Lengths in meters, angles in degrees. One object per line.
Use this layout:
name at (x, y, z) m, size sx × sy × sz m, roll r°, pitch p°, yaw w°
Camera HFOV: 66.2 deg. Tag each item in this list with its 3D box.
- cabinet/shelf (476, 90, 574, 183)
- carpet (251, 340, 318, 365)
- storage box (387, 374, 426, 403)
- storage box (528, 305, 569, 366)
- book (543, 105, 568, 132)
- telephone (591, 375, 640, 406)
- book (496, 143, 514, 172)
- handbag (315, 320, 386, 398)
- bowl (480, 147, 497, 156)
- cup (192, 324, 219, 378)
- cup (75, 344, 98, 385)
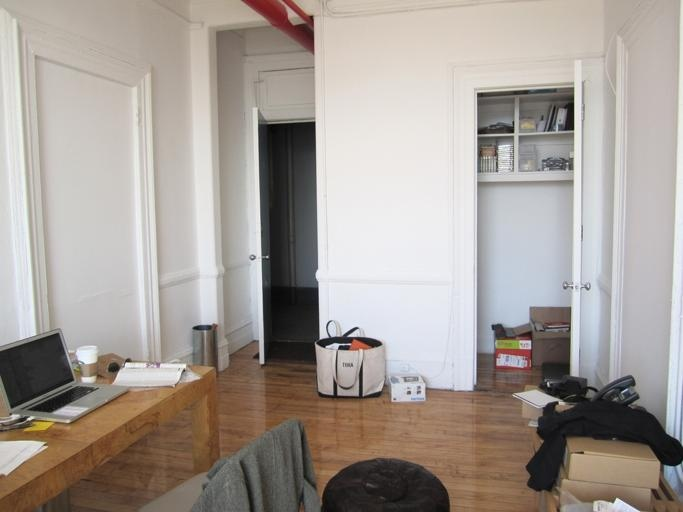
cabinet/shelf at (1.898, -1.203, 5.328) m, size 1.072 × 0.918 × 0.350 m, roll 1°, pitch 2°, yaw 6°
carpet at (-0.557, 1.063, 5.921) m, size 0.520 × 0.074 × 0.905 m, roll -2°, pitch 10°, yaw -3°
storage box at (0.585, 1.155, 4.632) m, size 0.314 × 0.190 × 0.235 m, roll -1°, pitch 10°, yaw 2°
storage box at (2.174, 0.830, 5.453) m, size 0.438 × 0.459 × 0.344 m, roll -1°, pitch 17°, yaw 16°
book at (2.151, -1.362, 5.250) m, size 0.091 × 0.296 × 0.221 m, roll 10°, pitch 17°, yaw 5°
telephone at (1.619, 0.784, 3.048) m, size 0.241 × 0.100 × 0.182 m, roll -22°, pitch -3°, yaw 10°
book at (1.674, -0.988, 5.322) m, size 0.158 × 0.281 × 0.140 m, roll -1°, pitch 10°, yaw 5°
handbag at (0.079, 0.948, 4.755) m, size 0.645 × 0.622 × 0.503 m, roll 0°, pitch 11°, yaw 4°
bowl at (1.501, -1.068, 5.363) m, size 0.113 × 0.109 × 0.071 m, roll 1°, pitch -1°, yaw 6°
cup at (-1.401, 0.982, 5.273) m, size 0.325 × 0.555 × 0.321 m, roll 0°, pitch 1°, yaw 0°
cup at (-1.440, 0.632, 2.991) m, size 0.125 × 0.178 × 0.120 m, roll -2°, pitch 0°, yaw 0°
